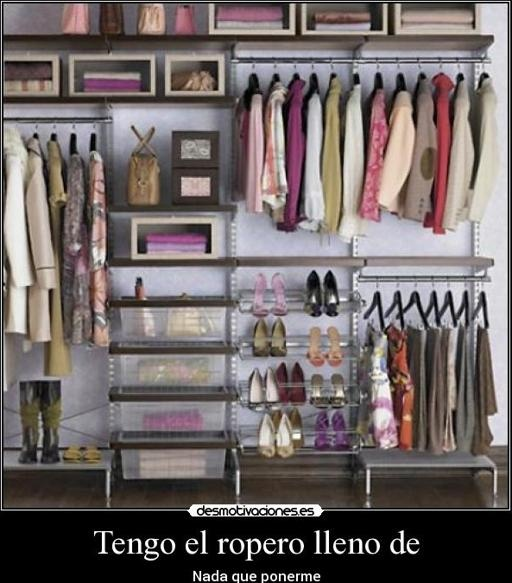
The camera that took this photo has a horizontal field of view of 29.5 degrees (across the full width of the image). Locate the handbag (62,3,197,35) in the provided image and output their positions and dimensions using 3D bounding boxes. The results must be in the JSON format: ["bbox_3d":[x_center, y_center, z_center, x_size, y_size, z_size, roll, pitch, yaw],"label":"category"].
[{"bbox_3d":[-0.639,-1.407,5.094,0.747,0.201,0.290,-4,10,0],"label":"handbag"}]

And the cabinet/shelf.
[{"bbox_3d":[-0.057,-0.200,5.047,1.736,2.196,0.698,0,-5,-2],"label":"cabinet/shelf"}]

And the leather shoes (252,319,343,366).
[{"bbox_3d":[0.202,0.297,5.120,0.295,0.155,0.272,2,-8,-5],"label":"leather shoes"}]

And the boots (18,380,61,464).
[{"bbox_3d":[-1.139,0.691,5.118,0.225,0.390,0.230,-5,8,-16],"label":"boots"}]

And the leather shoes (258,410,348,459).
[{"bbox_3d":[0.234,0.746,5.057,0.311,0.180,0.270,0,6,-3],"label":"leather shoes"}]

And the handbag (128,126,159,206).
[{"bbox_3d":[-0.573,-0.639,4.982,0.119,0.391,0.149,0,30,-5],"label":"handbag"}]
